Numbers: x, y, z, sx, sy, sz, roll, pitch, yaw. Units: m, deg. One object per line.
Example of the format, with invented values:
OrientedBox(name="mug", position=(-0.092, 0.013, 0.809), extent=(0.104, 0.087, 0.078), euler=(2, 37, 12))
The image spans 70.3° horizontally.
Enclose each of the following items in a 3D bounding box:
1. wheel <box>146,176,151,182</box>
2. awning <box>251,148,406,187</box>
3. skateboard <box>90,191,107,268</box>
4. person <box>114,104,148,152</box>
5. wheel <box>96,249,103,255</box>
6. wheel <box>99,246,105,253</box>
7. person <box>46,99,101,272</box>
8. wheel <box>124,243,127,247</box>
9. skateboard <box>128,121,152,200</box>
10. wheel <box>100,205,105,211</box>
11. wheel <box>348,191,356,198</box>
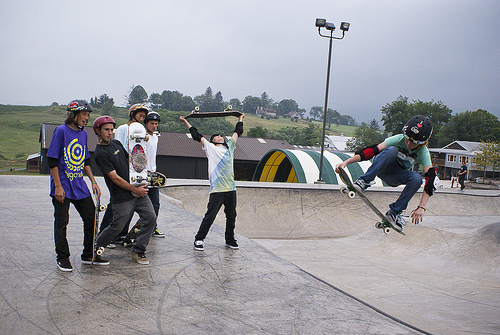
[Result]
OrientedBox(name="wheel", position=(-1.780, 0.205, 6.202), extent=(0.076, 0.039, 0.103), euler=(12, 8, -36))
OrientedBox(name="awning", position=(3.585, 0.072, 19.494), extent=(4.834, 1.285, 2.766), euler=(6, -3, -37))
OrientedBox(name="skateboard", position=(-2.499, 1.034, 5.863), extent=(0.222, 1.288, 0.184), euler=(6, 6, 35))
OrientedBox(name="person", position=(-2.190, -0.963, 6.649), extent=(0.325, 1.261, 0.205), euler=(5, -11, -20))
OrientedBox(name="wheel", position=(-2.460, 1.388, 5.802), extent=(0.086, 0.087, 0.107), euler=(6, 3, -43))
OrientedBox(name="wheel", position=(-2.439, 1.356, 5.846), extent=(0.101, 0.102, 0.024), euler=(-6, -7, -35))
OrientedBox(name="person", position=(-2.830, 0.274, 5.692), extent=(0.819, 2.132, 0.767), euler=(7, 2, -30))
OrientedBox(name="wheel", position=(-2.366, 1.471, 6.734), extent=(0.085, 0.084, 0.045), euler=(2, 1, -2))
OrientedBox(name="skateboard", position=(-1.884, -0.117, 6.047), extent=(0.377, 1.332, 0.180), euler=(1, -8, -42))
OrientedBox(name="wheel", position=(-2.406, 0.670, 5.786), extent=(0.070, 0.082, 0.234), euler=(7, 2, -18))
OrientedBox(name="wheel", position=(2.000, 0.527, 6.959), extent=(0.134, 0.134, 0.841), euler=(9, 2, 18))
